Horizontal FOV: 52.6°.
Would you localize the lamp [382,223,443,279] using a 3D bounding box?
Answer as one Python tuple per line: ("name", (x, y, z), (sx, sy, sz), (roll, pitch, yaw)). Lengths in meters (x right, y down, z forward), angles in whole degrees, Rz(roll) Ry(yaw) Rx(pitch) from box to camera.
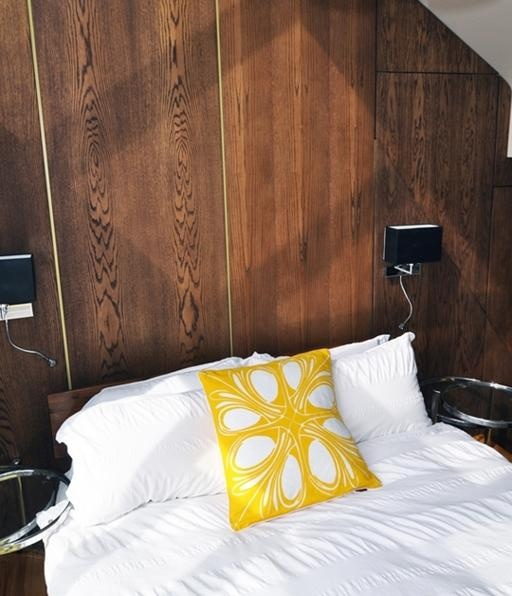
("lamp", (0.768, -0.223, 2.528), (0.270, 0.259, 0.170), (-5, 9, -19))
